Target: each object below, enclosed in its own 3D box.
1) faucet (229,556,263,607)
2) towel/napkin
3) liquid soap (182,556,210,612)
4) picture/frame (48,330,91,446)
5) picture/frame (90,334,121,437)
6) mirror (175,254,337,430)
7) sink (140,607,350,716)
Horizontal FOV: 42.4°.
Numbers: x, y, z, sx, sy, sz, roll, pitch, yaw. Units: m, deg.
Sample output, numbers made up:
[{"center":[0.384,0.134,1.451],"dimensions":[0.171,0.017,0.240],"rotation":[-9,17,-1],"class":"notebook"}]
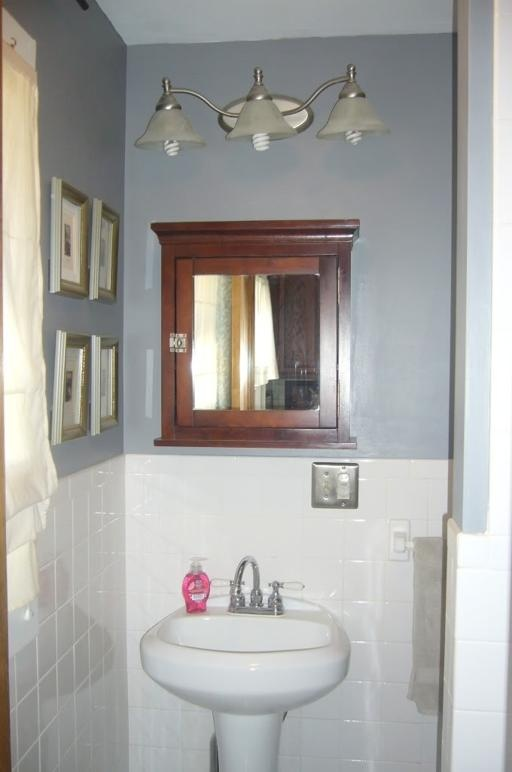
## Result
[{"center":[-0.026,0.503,1.725],"dimensions":[0.085,0.145,0.160],"rotation":[0,2,1],"class":"faucet"},{"center":[0.456,0.643,1.763],"dimensions":[0.039,0.464,0.125],"rotation":[8,-10,-25],"class":"towel/napkin"},{"center":[-0.151,0.524,1.743],"dimensions":[0.062,0.127,0.086],"rotation":[1,1,18],"class":"liquid soap"},{"center":[-0.399,0.000,1.440],"dimensions":[0.015,0.234,0.195],"rotation":[2,-5,-36],"class":"picture/frame"},{"center":[-0.386,-0.008,1.728],"dimensions":[0.015,0.238,0.191],"rotation":[0,-1,-27],"class":"picture/frame"},{"center":[-0.005,-0.125,1.757],"dimensions":[0.469,0.619,0.022],"rotation":[1,34,0],"class":"mirror"},{"center":[-0.023,0.652,1.583],"dimensions":[0.477,0.153,0.357],"rotation":[0,2,5],"class":"sink"}]
